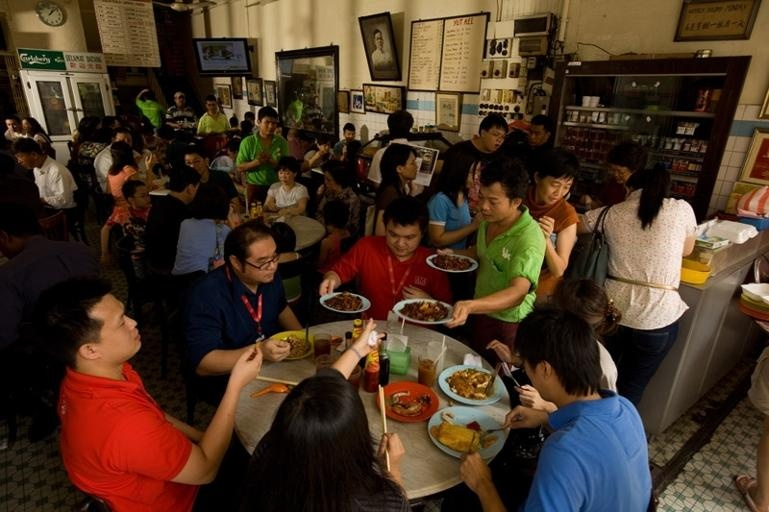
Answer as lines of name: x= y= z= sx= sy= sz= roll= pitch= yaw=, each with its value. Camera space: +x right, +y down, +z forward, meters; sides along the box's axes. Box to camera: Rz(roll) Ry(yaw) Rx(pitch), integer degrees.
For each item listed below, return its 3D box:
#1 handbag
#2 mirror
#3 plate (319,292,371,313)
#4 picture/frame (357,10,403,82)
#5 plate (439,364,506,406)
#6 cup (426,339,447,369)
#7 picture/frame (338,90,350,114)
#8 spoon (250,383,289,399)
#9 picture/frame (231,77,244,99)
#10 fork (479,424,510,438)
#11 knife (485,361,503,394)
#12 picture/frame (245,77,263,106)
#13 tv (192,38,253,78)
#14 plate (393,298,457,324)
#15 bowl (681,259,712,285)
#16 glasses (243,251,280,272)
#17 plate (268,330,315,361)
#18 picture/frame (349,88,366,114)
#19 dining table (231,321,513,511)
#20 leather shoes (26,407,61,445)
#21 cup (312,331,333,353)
handbag: x=1.740 y=-0.073 z=3.946 sx=0.249 sy=0.614 sz=0.352 roll=22 pitch=31 yaw=37
mirror: x=-1.440 y=-3.148 z=9.239 sx=0.115 sy=1.768 sz=2.447 roll=-19 pitch=26 yaw=-35
plate: x=-0.289 y=0.357 z=3.671 sx=0.222 sy=0.062 sz=0.228 roll=-2 pitch=21 yaw=-28
picture/frame: x=-0.045 y=-3.321 z=7.702 sx=0.163 sy=1.026 sz=0.944 roll=-18 pitch=31 yaw=-36
plate: x=0.560 y=0.889 z=3.275 sx=0.276 sy=0.056 sz=0.281 roll=11 pitch=30 yaw=24
cup: x=0.371 y=0.691 z=3.431 sx=0.132 sy=0.172 sz=0.173 roll=5 pitch=25 yaw=10
picture/frame: x=-0.726 y=-2.813 z=8.710 sx=0.057 sy=0.388 sz=0.338 roll=-22 pitch=35 yaw=-33
spoon: x=-0.756 y=0.896 z=3.204 sx=0.166 sy=0.034 sz=0.100 roll=-6 pitch=8 yaw=-22
picture/frame: x=-3.615 y=-4.167 z=11.862 sx=0.032 sy=0.579 sz=0.506 roll=-24 pitch=35 yaw=-38
fork: x=0.679 y=1.106 z=3.033 sx=0.206 sy=0.030 sz=0.030 roll=-17 pitch=-2 yaw=-16
knife: x=0.759 y=0.858 z=3.373 sx=0.227 sy=0.041 sz=0.025 roll=-56 pitch=11 yaw=-27
picture/frame: x=-2.989 y=-3.829 z=11.103 sx=0.028 sy=0.520 sz=0.721 roll=-17 pitch=27 yaw=-31
tv: x=-3.468 y=-4.342 z=10.485 sx=1.085 sy=0.791 sz=0.143 roll=-10 pitch=30 yaw=-24
plate: x=0.296 y=0.414 z=3.558 sx=0.252 sy=0.060 sz=0.254 roll=7 pitch=21 yaw=15
bowl: x=2.583 y=0.132 z=4.017 sx=0.215 sy=0.139 sz=0.274 roll=19 pitch=29 yaw=32
glasses: x=-0.869 y=0.033 z=3.438 sx=0.142 sy=0.042 sz=0.138 roll=10 pitch=23 yaw=38
plate: x=-0.638 y=0.649 z=3.525 sx=0.237 sy=0.056 sz=0.233 roll=-9 pitch=32 yaw=-20
picture/frame: x=-0.465 y=-2.734 z=8.422 sx=0.044 sy=0.436 sz=0.435 roll=-17 pitch=27 yaw=-34
dining table: x=-0.018 y=0.918 z=3.251 sx=1.677 sy=0.505 sz=1.326 roll=10 pitch=26 yaw=17
leather shoes: x=-2.941 y=1.429 z=4.140 sx=0.232 sy=0.240 sz=0.181 roll=-19 pitch=32 yaw=-38
cup: x=-0.437 y=0.623 z=3.438 sx=0.118 sy=0.133 sz=0.124 roll=2 pitch=24 yaw=-1
